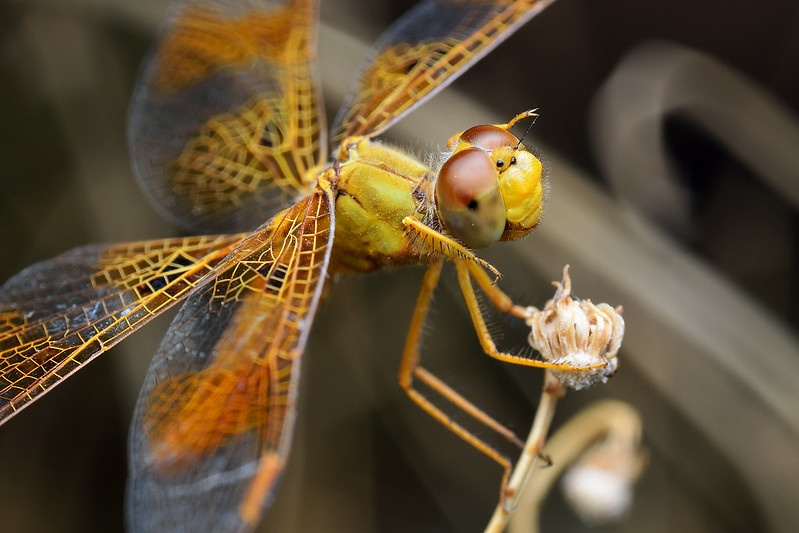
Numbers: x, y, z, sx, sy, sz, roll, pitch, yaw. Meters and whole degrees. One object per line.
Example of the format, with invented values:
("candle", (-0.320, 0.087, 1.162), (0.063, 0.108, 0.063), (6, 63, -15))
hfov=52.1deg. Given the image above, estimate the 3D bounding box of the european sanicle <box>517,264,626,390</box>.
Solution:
("european sanicle", (0.293, 0.115, 1.448), (0.159, 0.203, 0.099), (-7, -19, -39))
